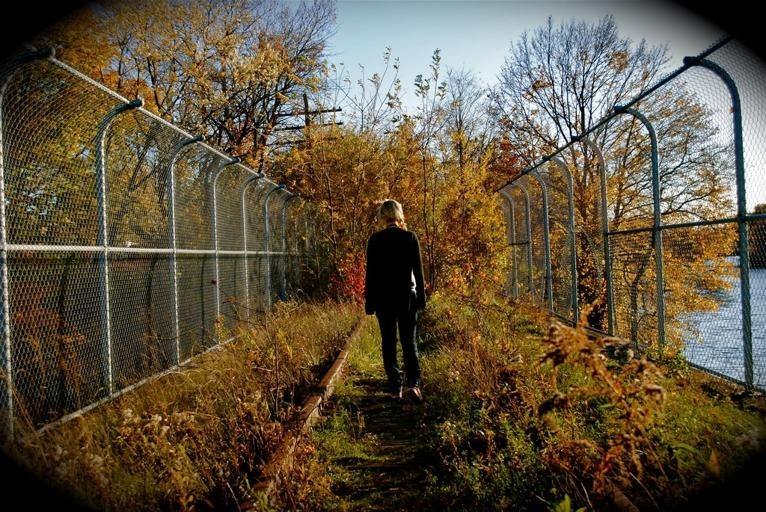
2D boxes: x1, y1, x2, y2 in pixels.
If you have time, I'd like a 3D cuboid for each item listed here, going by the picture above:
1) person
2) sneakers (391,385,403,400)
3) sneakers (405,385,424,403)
[{"bbox_3d":[0.167,0.517,6.998,0.839,2.339,0.453,2,-1,18],"label":"person"},{"bbox_3d":[0.193,1.701,6.968,0.131,0.197,0.186,-5,10,-10],"label":"sneakers"},{"bbox_3d":[0.409,1.700,6.796,0.183,0.177,0.325,3,-1,1],"label":"sneakers"}]
